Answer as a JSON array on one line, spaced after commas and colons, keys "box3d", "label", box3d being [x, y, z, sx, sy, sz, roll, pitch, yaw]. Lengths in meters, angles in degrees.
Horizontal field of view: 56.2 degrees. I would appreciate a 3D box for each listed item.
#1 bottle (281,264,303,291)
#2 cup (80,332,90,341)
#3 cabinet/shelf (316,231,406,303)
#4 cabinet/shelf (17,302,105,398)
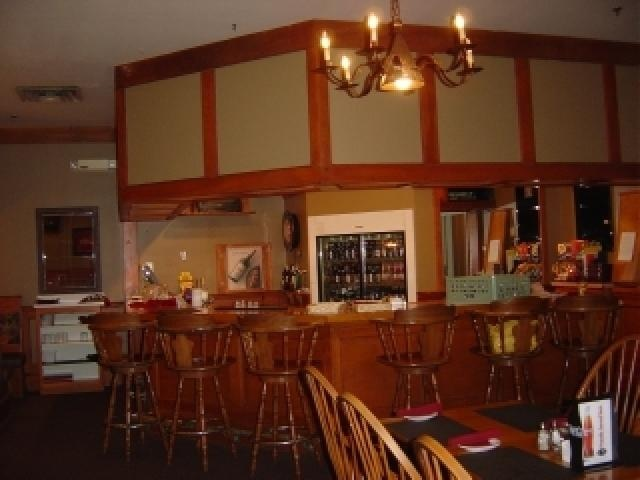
[{"box3d": [-0.390, 0.580, 9.059, 0.244, 0.388, 0.502, -5, 5, -18], "label": "bottle"}, {"box3d": [-3.340, 1.367, 8.490, 0.125, 0.122, 0.067, 1, -1, -11], "label": "cup"}, {"box3d": [0.636, 0.385, 8.944, 1.276, 1.173, 0.407, -3, 21, 1], "label": "cabinet/shelf"}, {"box3d": [-3.485, 1.519, 8.390, 0.967, 1.179, 0.452, -3, 1, -18], "label": "cabinet/shelf"}]
